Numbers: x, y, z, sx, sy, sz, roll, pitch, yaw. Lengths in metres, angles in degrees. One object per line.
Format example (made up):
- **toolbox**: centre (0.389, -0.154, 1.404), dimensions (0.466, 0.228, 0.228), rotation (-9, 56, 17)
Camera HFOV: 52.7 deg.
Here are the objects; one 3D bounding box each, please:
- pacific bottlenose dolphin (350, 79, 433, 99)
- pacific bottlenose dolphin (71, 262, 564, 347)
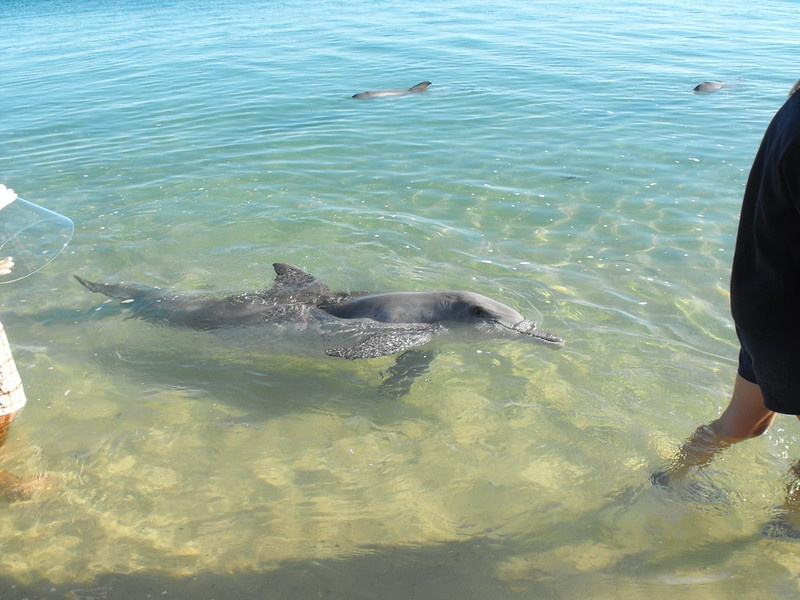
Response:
- **pacific bottlenose dolphin**: centre (-0.258, -4.839, 18.646), dimensions (2.358, 0.267, 0.563), rotation (-6, 6, -20)
- **pacific bottlenose dolphin**: centre (-1.455, 0.138, 10.139), dimensions (6.972, 0.784, 1.526), rotation (0, 12, 5)
